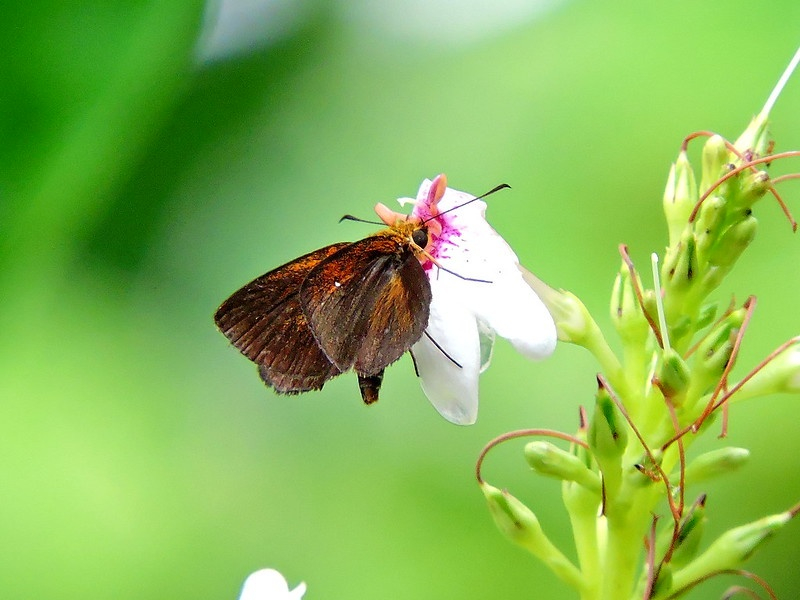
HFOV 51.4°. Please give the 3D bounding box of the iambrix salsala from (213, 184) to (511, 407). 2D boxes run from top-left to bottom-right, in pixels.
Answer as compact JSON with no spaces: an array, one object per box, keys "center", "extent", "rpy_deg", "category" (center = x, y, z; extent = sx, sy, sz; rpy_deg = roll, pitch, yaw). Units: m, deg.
[{"center":[-0.023,-0.008,1.128],"extent":[0.374,0.326,0.189],"rpy_deg":[-1,-38,34],"category":"iambrix salsala"}]
